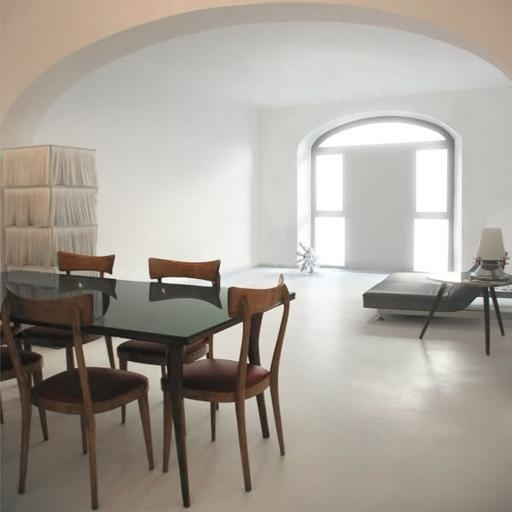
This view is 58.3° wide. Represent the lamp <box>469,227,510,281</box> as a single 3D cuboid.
[{"bbox_3d":[2.004,-0.022,4.047,0.327,0.471,0.376,-1,0,2],"label":"lamp"}]

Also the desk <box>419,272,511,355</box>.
[{"bbox_3d":[1.906,0.371,4.086,0.635,0.625,0.709,0,5,33],"label":"desk"}]

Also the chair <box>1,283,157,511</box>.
[{"bbox_3d":[-0.761,0.554,1.958,0.462,0.860,0.480,2,6,26],"label":"chair"}]

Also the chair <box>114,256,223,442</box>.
[{"bbox_3d":[-0.491,0.428,2.679,0.626,1.112,0.653,1,-1,25],"label":"chair"}]

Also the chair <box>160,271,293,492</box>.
[{"bbox_3d":[-0.125,0.547,2.127,0.558,0.867,0.580,0,3,-31],"label":"chair"}]
